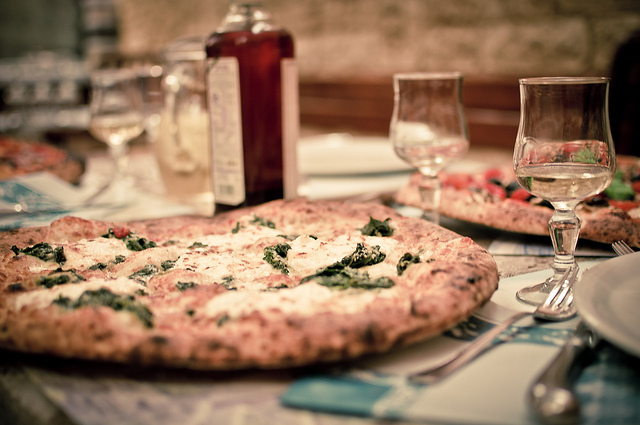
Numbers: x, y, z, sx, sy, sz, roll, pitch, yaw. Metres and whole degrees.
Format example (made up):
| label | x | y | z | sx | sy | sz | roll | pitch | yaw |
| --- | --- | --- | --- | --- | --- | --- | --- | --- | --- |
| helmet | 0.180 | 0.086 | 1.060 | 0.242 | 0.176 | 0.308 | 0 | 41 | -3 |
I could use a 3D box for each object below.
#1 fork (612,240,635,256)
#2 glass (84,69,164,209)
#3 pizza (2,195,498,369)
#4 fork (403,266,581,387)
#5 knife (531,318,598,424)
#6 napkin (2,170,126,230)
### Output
| label | x | y | z | sx | sy | sz | roll | pitch | yaw |
| --- | --- | --- | --- | --- | --- | --- | --- | --- | --- |
| fork | 0.461 | 0.054 | 0.823 | 0.020 | 0.010 | 0.063 | 10 | 12 | 12 |
| glass | -0.569 | -0.222 | 1.538 | 0.287 | 0.378 | 0.251 | 6 | 24 | -9 |
| pizza | -0.122 | 0.091 | 0.819 | 0.638 | 0.137 | 0.493 | -10 | 16 | -25 |
| fork | 0.310 | 0.131 | 0.776 | 0.499 | 0.063 | 0.083 | -16 | 21 | -39 |
| knife | 0.273 | 0.185 | 0.604 | 0.038 | 0.033 | 0.252 | -16 | 9 | 30 |
| napkin | -0.638 | -0.028 | 1.276 | 0.199 | 0.026 | 0.226 | 20 | 21 | 36 |
